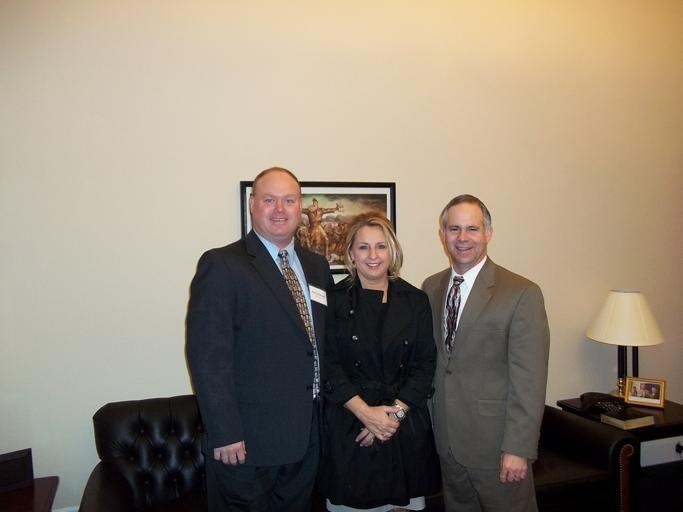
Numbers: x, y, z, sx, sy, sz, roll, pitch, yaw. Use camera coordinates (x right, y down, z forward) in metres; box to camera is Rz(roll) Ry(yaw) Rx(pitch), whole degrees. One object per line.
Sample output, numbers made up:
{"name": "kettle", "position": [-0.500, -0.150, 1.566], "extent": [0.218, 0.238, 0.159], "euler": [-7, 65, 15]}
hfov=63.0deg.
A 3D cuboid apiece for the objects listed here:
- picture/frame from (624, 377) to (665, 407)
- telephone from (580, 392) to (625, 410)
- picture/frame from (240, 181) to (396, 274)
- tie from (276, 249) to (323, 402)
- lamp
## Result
{"name": "picture/frame", "position": [2.559, 1.150, 4.722], "extent": [0.215, 0.191, 0.022], "euler": [7, -18, 20]}
{"name": "telephone", "position": [2.177, 1.211, 4.670], "extent": [0.208, 0.063, 0.174], "euler": [1, 0, -34]}
{"name": "picture/frame", "position": [-0.203, -0.191, 3.926], "extent": [0.743, 0.518, 0.028], "euler": [1, -3, -17]}
{"name": "tie", "position": [-0.276, 0.280, 3.518], "extent": [0.146, 1.292, 0.131], "euler": [-6, -22, -11]}
{"name": "lamp", "position": [2.407, 0.741, 4.739], "extent": [0.522, 0.609, 0.389], "euler": [-2, 0, -20]}
